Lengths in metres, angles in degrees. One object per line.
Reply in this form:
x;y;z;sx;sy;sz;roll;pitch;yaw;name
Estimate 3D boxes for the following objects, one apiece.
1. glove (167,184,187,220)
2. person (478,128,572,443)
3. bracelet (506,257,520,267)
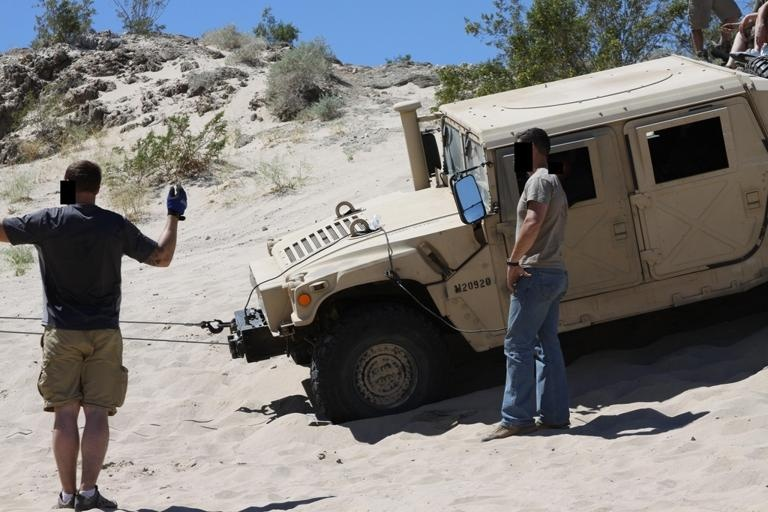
-2.213;-0.600;9.546;0.141;0.368;0.270;17;16;34;glove
1.579;0.268;9.804;0.661;2.864;0.805;-5;-4;-36;person
1.382;0.058;9.696;0.130;0.074;0.197;-9;-3;9;bracelet
